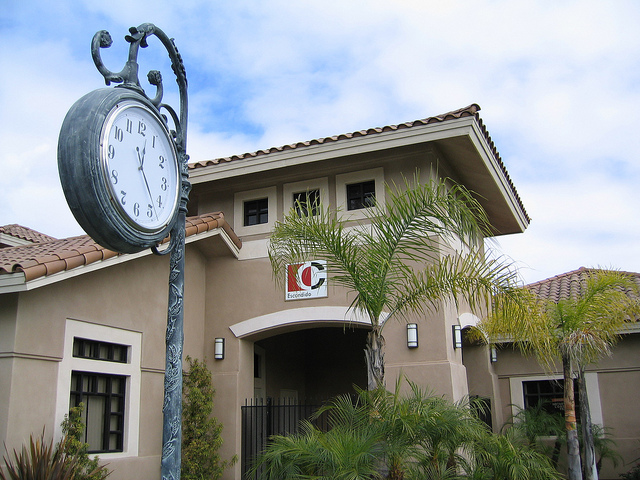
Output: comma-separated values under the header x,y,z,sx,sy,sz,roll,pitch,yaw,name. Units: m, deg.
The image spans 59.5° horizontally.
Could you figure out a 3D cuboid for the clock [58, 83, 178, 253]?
x,y,z,sx,sy,sz,roll,pitch,yaw,name
-2.401,-0.883,6.837,0.576,2.293,1.793,-9,-14,23,clock
